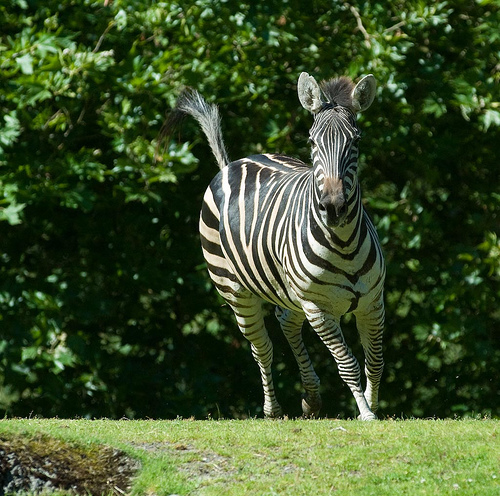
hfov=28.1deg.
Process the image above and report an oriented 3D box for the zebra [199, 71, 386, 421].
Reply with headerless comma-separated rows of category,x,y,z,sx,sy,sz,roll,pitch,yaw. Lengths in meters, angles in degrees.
zebra,0.439,0.129,8.119,1.043,3.015,2.134,-4,6,-15
